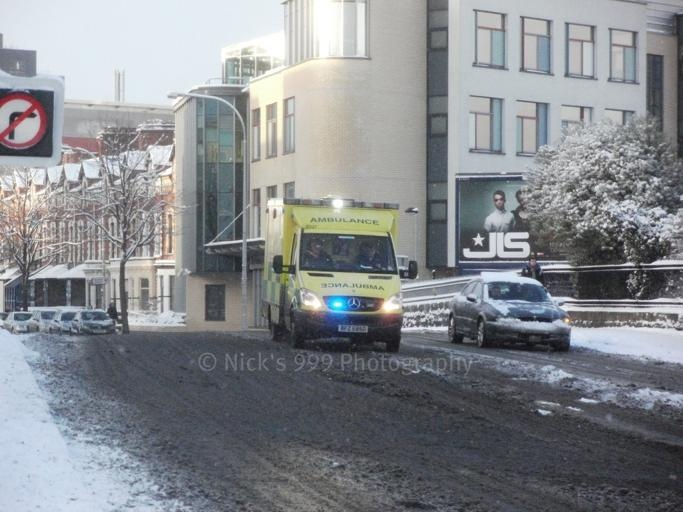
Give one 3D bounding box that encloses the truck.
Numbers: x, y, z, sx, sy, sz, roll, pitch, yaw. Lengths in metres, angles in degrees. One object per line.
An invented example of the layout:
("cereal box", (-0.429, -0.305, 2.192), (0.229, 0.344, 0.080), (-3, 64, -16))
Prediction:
("truck", (-0.238, 0.432, 28.595), (2.180, 2.563, 4.707), (1, -6, -5))
